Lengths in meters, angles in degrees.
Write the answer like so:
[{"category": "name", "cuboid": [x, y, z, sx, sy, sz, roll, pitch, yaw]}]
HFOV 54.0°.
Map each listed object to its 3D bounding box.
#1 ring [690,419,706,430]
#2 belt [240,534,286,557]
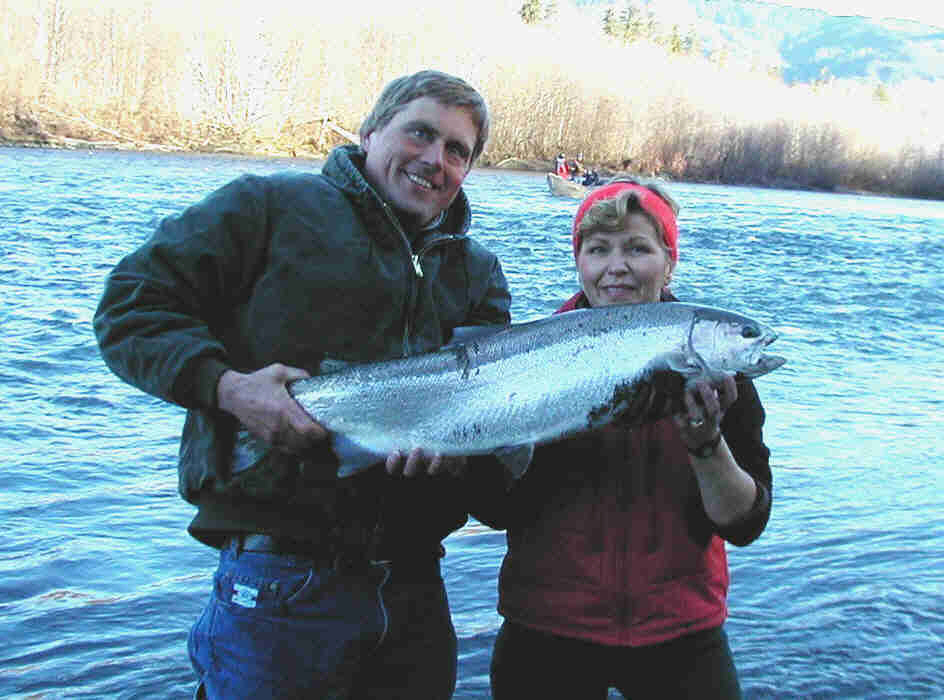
[{"category": "ring", "cuboid": [1.037, 0.348, 4.286, 0.047, 0.011, 0.044, 0, -23, 0]}, {"category": "belt", "cuboid": [-1.016, 0.923, 4.422, 0.204, 0.090, 0.020, 3, 11, 5]}]
